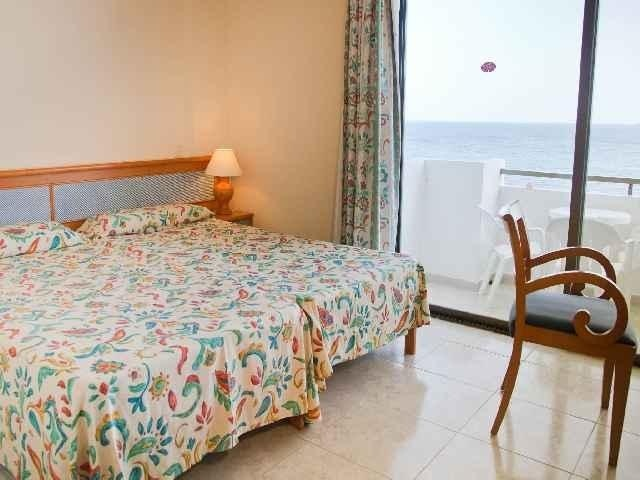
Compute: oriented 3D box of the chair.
[{"bbox_3d":[1.384,0.419,2.562,0.703,1.205,0.980,8,16,26],"label":"chair"}]
